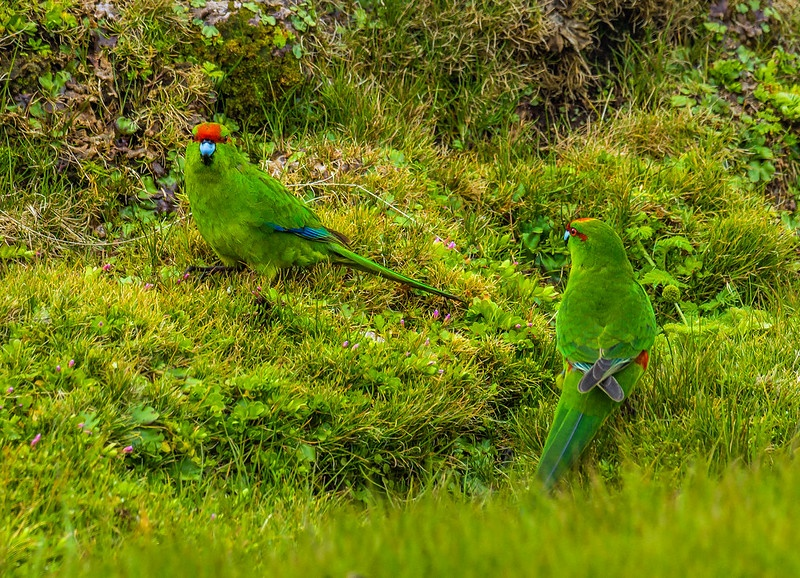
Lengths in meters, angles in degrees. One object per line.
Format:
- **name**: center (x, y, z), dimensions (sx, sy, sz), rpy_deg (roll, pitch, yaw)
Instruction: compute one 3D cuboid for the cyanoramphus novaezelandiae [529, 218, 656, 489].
- **cyanoramphus novaezelandiae**: center (1.212, 0.297, 5.595), dimensions (0.485, 0.888, 2.060), rpy_deg (-3, 40, 23)
